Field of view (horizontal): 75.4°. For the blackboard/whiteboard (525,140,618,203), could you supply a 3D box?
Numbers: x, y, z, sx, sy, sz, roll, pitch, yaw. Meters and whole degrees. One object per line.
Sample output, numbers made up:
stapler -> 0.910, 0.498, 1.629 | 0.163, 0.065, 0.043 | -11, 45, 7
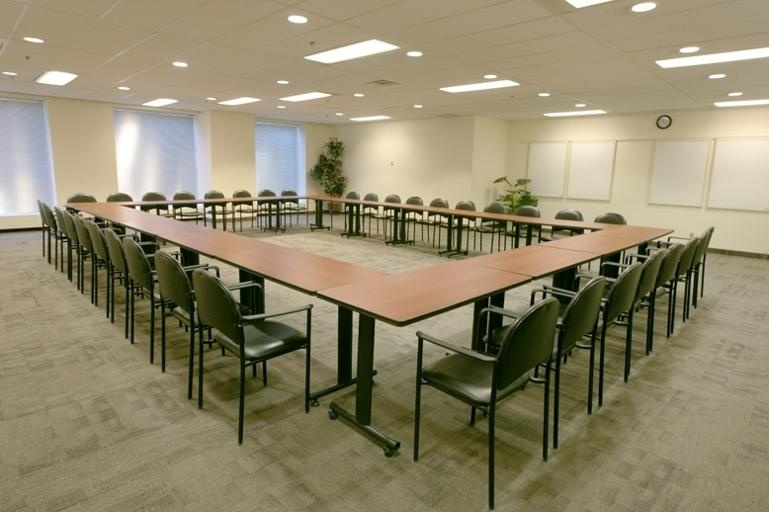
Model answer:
blackboard/whiteboard -> 4.377, -1.975, 11.493 | 1.593, 1.047, 0.100 | 10, 17, 40

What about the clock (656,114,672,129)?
clock -> 5.732, -2.779, 10.246 | 0.068, 0.270, 0.271 | -5, 23, -41
